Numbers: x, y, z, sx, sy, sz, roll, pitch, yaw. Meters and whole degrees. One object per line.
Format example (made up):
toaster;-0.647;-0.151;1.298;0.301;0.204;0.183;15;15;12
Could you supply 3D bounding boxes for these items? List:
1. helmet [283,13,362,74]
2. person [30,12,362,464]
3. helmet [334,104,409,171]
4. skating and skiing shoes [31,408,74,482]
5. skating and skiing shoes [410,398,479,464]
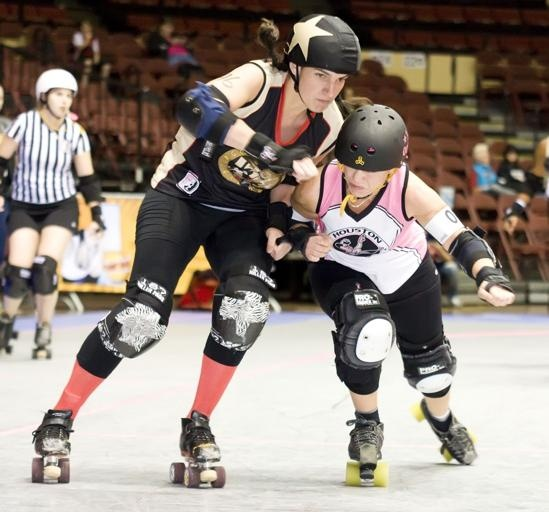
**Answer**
helmet;0.137;-0.700;2.303;0.216;0.185;0.268;-7;13;-38
person;-0.241;-0.081;2.398;0.803;1.573;0.635;11;10;2
helmet;0.327;-0.393;2.273;0.240;0.229;0.220;10;9;7
skating and skiing shoes;-0.745;0.626;2.283;0.136;0.219;0.193;7;10;-16
skating and skiing shoes;0.679;0.695;2.670;0.285;0.123;0.140;50;16;19
